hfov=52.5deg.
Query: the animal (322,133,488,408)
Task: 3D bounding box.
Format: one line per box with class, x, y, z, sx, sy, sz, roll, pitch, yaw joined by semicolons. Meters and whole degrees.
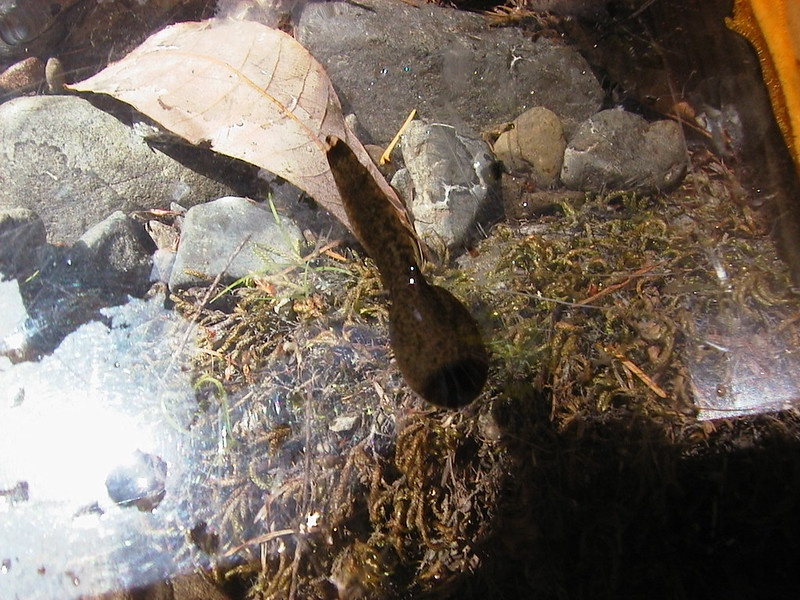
animal;0.046;-0.022;2.879;0.313;1.176;0.273;-23;-13;0
